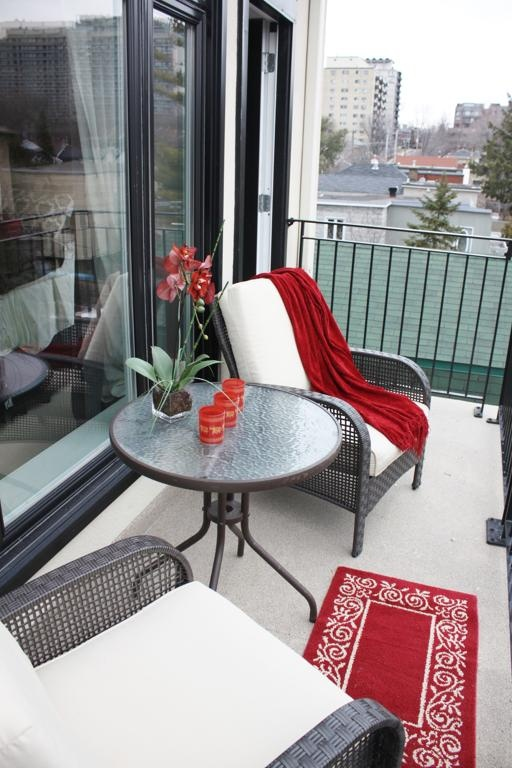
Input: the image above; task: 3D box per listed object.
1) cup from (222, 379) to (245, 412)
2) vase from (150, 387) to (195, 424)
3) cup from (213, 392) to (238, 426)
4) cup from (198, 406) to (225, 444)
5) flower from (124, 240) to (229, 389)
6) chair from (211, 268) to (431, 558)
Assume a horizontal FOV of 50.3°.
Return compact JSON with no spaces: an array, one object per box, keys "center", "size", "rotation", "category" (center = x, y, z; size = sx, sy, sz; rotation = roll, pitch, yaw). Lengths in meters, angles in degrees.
[{"center":[-0.067,0.030,1.832],"size":[0.088,0.105,0.093],"rotation":[0,14,0],"category":"cup"},{"center":[-0.285,0.049,1.835],"size":[0.113,0.117,0.115],"rotation":[23,28,36],"category":"vase"},{"center":[-0.090,0.081,1.795],"size":[0.094,0.105,0.091],"rotation":[0,24,0],"category":"cup"},{"center":[-0.134,0.124,1.676],"size":[0.087,0.106,0.101],"rotation":[8,22,17],"category":"cup"},{"center":[-0.327,-0.286,2.146],"size":[0.421,0.695,0.343],"rotation":[-6,38,-25],"category":"flower"},{"center":[0.375,0.035,2.635],"size":[0.890,1.070,0.973],"rotation":[-15,23,-34],"category":"chair"}]
